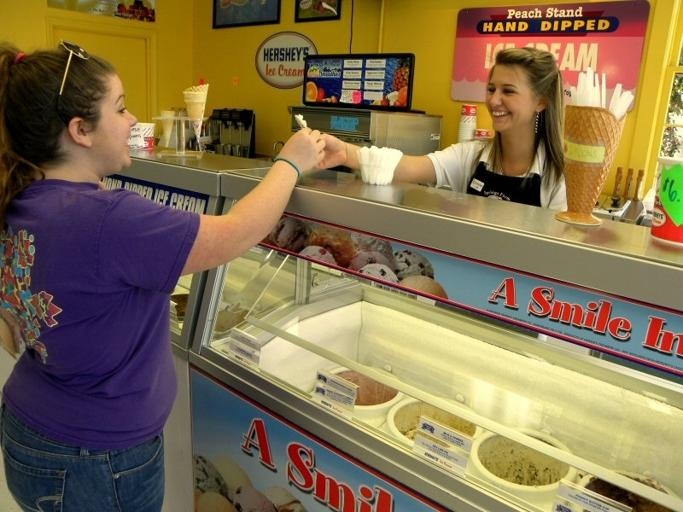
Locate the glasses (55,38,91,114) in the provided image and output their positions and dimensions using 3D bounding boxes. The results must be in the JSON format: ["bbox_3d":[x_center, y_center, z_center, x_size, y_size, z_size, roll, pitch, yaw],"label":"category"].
[{"bbox_3d":[-0.645,-0.435,1.048,0.080,0.150,0.192,-9,21,-27],"label":"glasses"}]
